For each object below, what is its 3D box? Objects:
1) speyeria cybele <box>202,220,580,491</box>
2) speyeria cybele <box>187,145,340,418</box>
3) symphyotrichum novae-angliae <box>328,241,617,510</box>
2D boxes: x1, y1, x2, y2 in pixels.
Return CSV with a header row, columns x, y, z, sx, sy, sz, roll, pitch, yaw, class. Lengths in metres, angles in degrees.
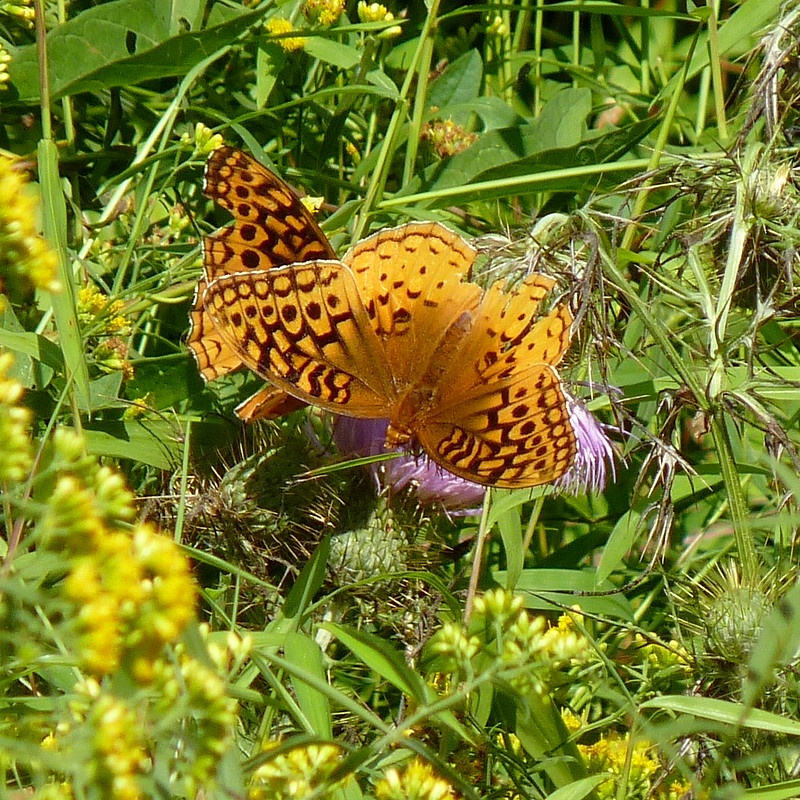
x,y,z,sx,sy,sz,roll,pitch,yaw,class
0.057,-0.058,1.916,0.582,0.346,0.138,25,25,-18,speyeria cybele
-0.216,-0.148,2.045,0.168,0.358,0.340,21,46,-14,speyeria cybele
0.111,0.011,2.046,0.436,0.164,0.425,16,25,17,symphyotrichum novae-angliae
